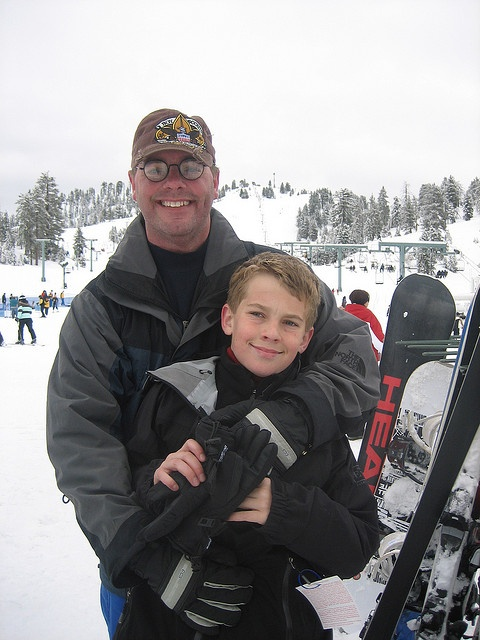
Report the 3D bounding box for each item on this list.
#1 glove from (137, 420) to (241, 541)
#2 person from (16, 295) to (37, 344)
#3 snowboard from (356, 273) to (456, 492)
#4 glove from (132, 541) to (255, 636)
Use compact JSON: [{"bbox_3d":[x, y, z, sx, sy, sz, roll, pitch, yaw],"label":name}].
[{"bbox_3d":[-0.088,0.509,1.721,0.282,0.336,0.145,44,-10,4],"label":"glove"},{"bbox_3d":[-6.636,0.001,17.029,0.543,1.425,3.140,-4,7,-20],"label":"person"},{"bbox_3d":[1.161,0.290,3.894,0.430,1.967,0.284,16,3,13],"label":"snowboard"},{"bbox_3d":[-0.155,0.799,1.731,0.363,0.215,0.146,37,-11,-6],"label":"glove"}]
